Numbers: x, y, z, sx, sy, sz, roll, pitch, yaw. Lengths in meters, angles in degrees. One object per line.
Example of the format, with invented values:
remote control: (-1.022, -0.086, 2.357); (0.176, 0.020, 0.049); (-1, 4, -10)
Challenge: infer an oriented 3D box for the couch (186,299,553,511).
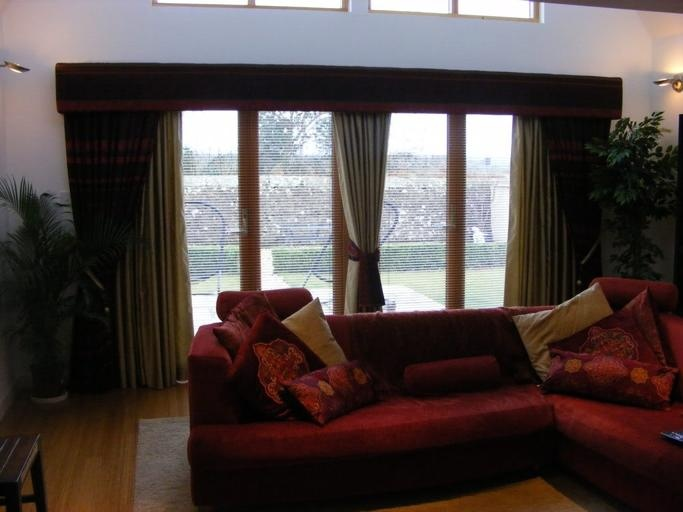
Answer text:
couch: (0.165, 0.980, 3.649); (2.226, 0.912, 0.837); (-5, 13, -17)
